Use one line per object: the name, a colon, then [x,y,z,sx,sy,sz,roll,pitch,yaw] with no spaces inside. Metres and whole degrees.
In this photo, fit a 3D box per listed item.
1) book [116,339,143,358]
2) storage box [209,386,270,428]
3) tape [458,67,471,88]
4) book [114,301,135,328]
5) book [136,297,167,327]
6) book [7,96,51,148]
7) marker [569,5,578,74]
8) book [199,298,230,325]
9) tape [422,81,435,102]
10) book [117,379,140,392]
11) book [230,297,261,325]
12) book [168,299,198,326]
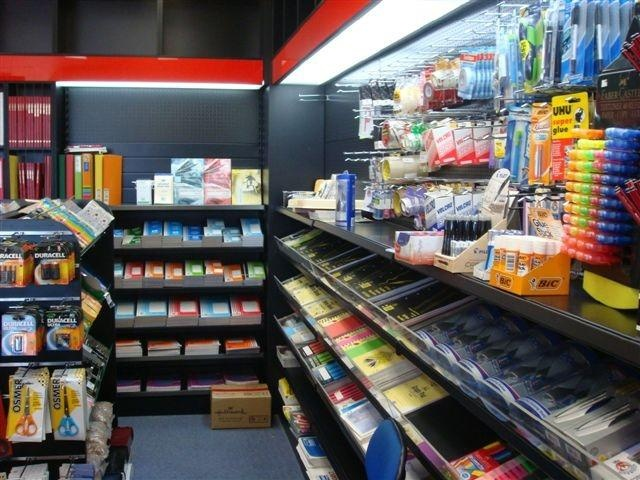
book: [-1.660,0.955,4.228,0.172,0.050,0.162,-1,0,-4]
storage box: [-0.651,1.424,4.201,0.488,0.255,0.338,0,12,-3]
tape: [0.562,-0.633,1.878,0.024,0.072,0.076,-5,20,-12]
book: [-1.669,0.643,4.173,0.175,0.053,0.252,0,24,-18]
book: [-1.471,0.645,4.272,0.277,0.205,0.253,-11,12,-14]
book: [-2.399,-0.977,4.036,0.388,0.442,0.109,-8,12,3]
marker: [0.662,-0.528,1.263,0.023,0.188,0.038,1,16,38]
book: [-0.929,0.634,4.303,0.236,0.053,0.234,1,23,-8]
tape: [0.481,-0.659,2.141,0.028,0.086,0.085,-10,58,-7]
book: [-1.679,1.300,4.291,0.184,0.071,0.190,-11,12,-16]
book: [-0.668,0.620,4.368,0.235,0.049,0.225,0,21,-11]
book: [-1.212,0.649,4.312,0.270,0.201,0.254,-11,12,-12]
